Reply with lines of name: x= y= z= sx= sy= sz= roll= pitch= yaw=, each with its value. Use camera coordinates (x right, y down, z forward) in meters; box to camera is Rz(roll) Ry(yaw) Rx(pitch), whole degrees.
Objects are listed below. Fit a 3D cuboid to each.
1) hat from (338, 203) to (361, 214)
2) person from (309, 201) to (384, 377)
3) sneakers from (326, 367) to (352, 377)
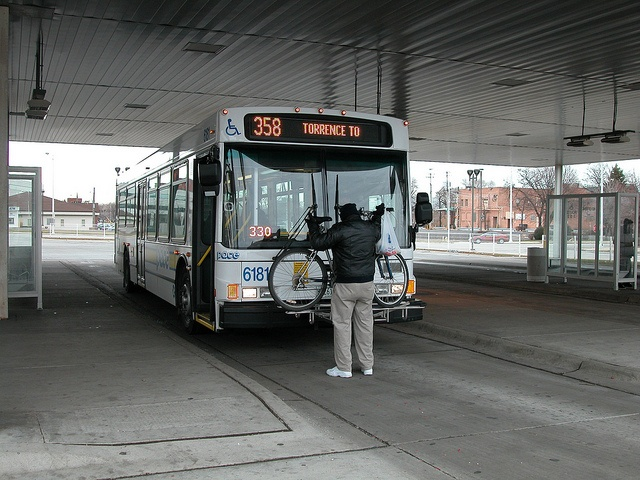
hat: x=0.405 y=-0.425 z=6.988 sx=0.223 sy=0.135 sz=0.217 roll=-1 pitch=-1 yaw=33
person: x=0.445 y=0.725 z=6.997 sx=1.109 sy=2.479 sz=0.556 roll=-3 pitch=4 yaw=-40
sneakers: x=0.251 y=1.900 z=6.859 sx=0.366 sy=0.139 sz=0.135 roll=4 pitch=2 yaw=27
